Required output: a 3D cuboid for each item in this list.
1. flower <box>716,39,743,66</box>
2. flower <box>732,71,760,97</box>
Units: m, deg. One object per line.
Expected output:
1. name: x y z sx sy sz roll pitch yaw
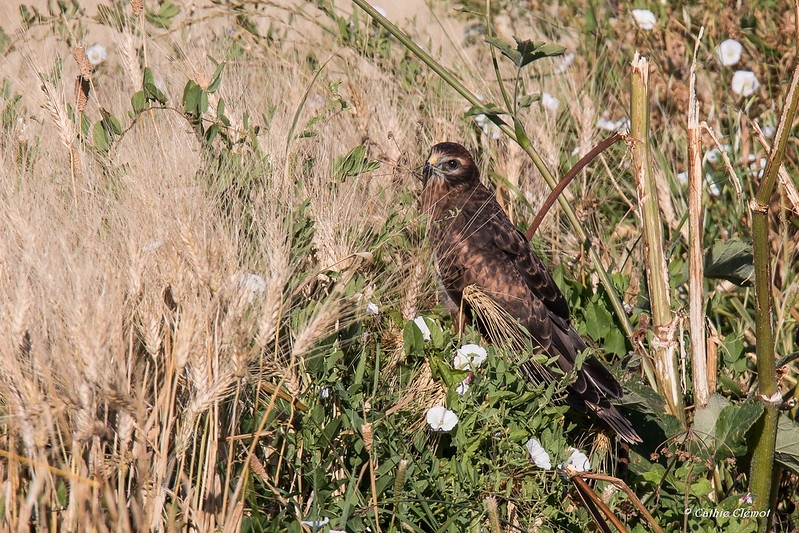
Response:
1. flower: 2.129 -1.387 6.613 0.139 0.157 0.501 -7 2 23
2. flower: 2.165 -1.141 6.399 0.169 0.149 0.299 -7 1 19
